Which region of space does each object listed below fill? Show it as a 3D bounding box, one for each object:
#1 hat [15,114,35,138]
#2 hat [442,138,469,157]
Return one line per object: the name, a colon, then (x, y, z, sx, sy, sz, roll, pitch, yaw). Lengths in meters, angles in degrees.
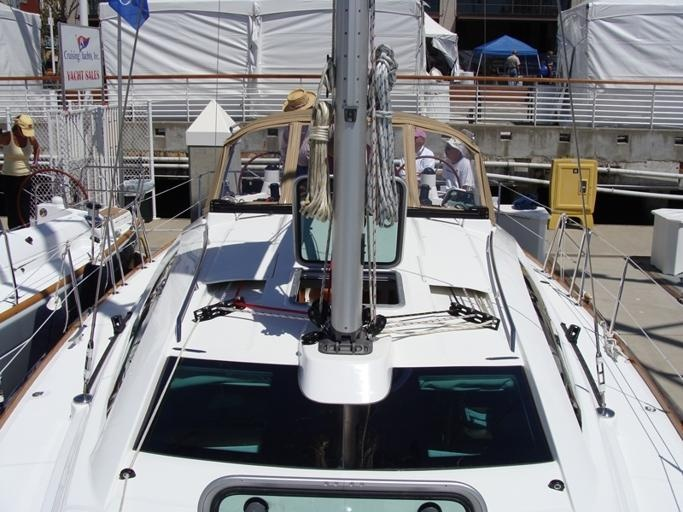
hat: (-4.316, -1.739, 7.312, 0.165, 0.365, 0.207, -19, 2, 33)
hat: (0.995, -0.931, 4.606, 0.149, 0.169, 0.132, -2, 26, -10)
